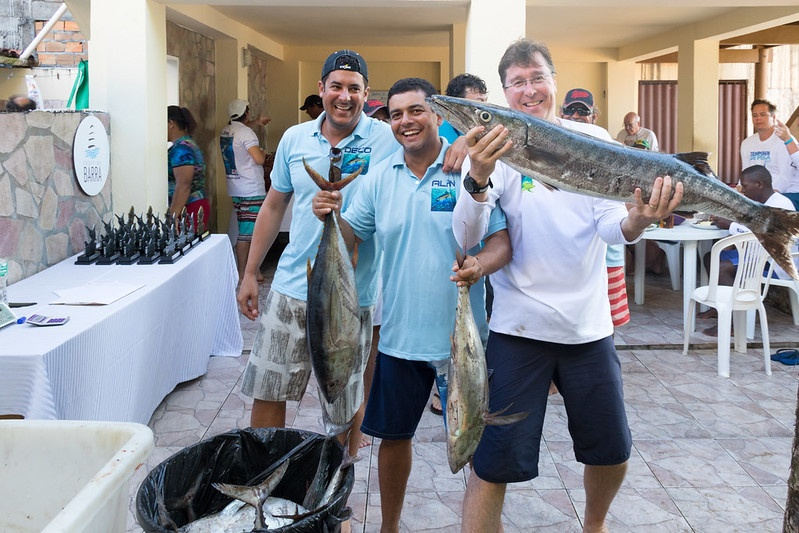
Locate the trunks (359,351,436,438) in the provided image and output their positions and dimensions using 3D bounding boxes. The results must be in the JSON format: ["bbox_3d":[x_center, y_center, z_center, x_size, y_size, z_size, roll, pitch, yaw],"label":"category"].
[{"bbox_3d":[-0.020,0.649,2.782,0.245,0.420,0.289,14,-16,-12],"label":"trunks"}]

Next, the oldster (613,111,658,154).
[{"bbox_3d":[4.027,-2.260,9.524,0.443,0.779,0.797,-31,33,-27],"label":"oldster"}]

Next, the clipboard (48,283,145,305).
[{"bbox_3d":[-1.965,0.175,3.579,0.501,0.069,0.447,1,8,-3],"label":"clipboard"}]

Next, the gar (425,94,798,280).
[{"bbox_3d":[0.709,-0.289,1.881,1.219,0.511,0.228,3,8,8],"label":"gar"}]

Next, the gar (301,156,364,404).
[{"bbox_3d":[-0.202,0.066,2.218,0.227,0.931,0.349,2,-13,-9],"label":"gar"}]

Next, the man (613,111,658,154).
[{"bbox_3d":[4.033,-2.254,9.519,0.436,0.770,0.777,-28,32,-27],"label":"man"}]

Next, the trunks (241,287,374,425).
[{"bbox_3d":[-0.491,0.458,3.152,0.710,0.667,0.381,4,1,11],"label":"trunks"}]

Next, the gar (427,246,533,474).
[{"bbox_3d":[0.300,0.322,2.059,0.232,0.759,0.284,1,-2,39],"label":"gar"}]

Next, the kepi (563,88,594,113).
[{"bbox_3d":[1.472,-1.391,4.548,0.218,0.165,0.311,5,1,22],"label":"kepi"}]

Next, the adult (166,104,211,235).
[{"bbox_3d":[-2.573,-1.198,6.769,0.458,1.480,2.001,-1,9,-19],"label":"adult"}]

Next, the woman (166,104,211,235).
[{"bbox_3d":[-2.577,-1.200,6.779,0.457,1.480,1.496,-1,9,-20],"label":"woman"}]

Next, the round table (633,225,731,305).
[{"bbox_3d":[2.946,-0.048,6.394,0.988,0.729,0.993,3,-4,0],"label":"round table"}]

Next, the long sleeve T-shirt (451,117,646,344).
[{"bbox_3d":[0.644,-0.141,2.506,0.702,0.883,0.577,3,3,17],"label":"long sleeve T-shirt"}]
